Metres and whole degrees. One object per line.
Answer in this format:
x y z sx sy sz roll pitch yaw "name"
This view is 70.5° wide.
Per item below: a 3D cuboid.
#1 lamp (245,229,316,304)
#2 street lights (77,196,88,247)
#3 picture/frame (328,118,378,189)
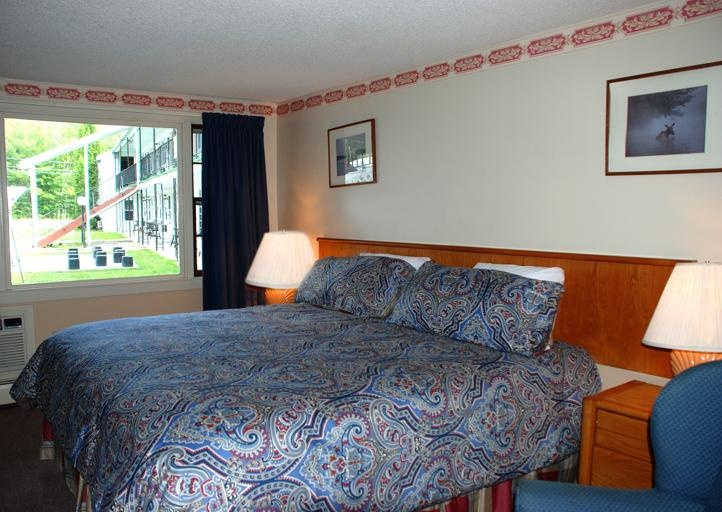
-0.825 0.100 5.321 0.691 1.048 0.721 3 5 2 "lamp"
-2.864 -0.361 5.268 0.095 0.519 0.087 -7 11 -29 "street lights"
-0.068 -1.022 5.036 0.029 0.683 0.731 -8 10 -38 "picture/frame"
